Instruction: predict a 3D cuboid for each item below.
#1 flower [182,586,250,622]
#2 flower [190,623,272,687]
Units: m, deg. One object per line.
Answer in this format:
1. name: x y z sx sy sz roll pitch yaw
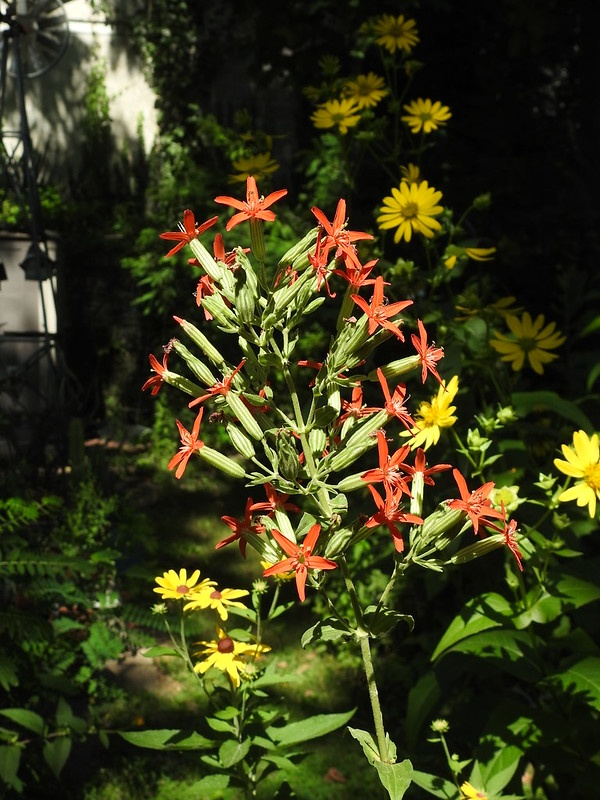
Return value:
1. flower: -0.167 0.410 1.612 0.117 0.046 0.109 -7 11 -17
2. flower: -0.134 0.466 1.524 0.128 0.044 0.103 0 13 13
